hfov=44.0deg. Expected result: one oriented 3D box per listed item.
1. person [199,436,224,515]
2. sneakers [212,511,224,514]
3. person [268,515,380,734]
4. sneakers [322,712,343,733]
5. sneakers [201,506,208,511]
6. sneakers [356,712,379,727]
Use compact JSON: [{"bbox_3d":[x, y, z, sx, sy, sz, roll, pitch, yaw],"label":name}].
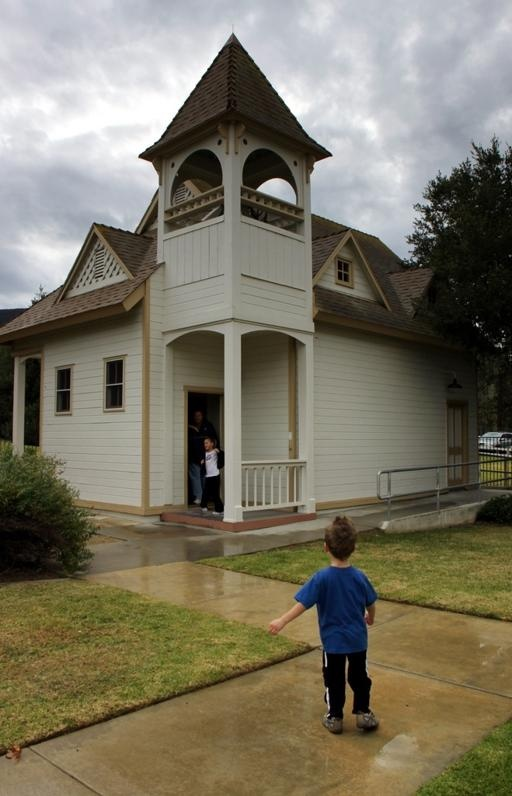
[{"bbox_3d":[-0.799,1.425,11.798,0.401,1.416,0.766,0,-6,-10],"label":"person"},{"bbox_3d":[-0.686,2.071,11.493,0.185,0.079,0.068,-2,-5,6],"label":"sneakers"},{"bbox_3d":[0.359,1.123,3.162,0.540,1.028,0.274,0,-6,-12],"label":"person"},{"bbox_3d":[0.378,1.579,3.084,0.044,0.051,0.120,2,-2,-9],"label":"sneakers"},{"bbox_3d":[-0.984,2.105,12.081,0.084,0.095,0.235,0,-9,-14],"label":"sneakers"},{"bbox_3d":[0.547,1.582,3.092,0.051,0.061,0.141,-4,-8,30],"label":"sneakers"}]
